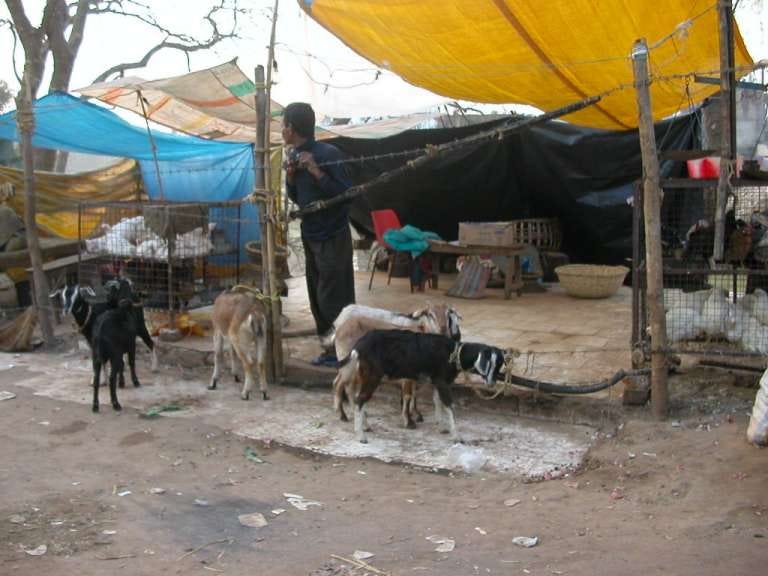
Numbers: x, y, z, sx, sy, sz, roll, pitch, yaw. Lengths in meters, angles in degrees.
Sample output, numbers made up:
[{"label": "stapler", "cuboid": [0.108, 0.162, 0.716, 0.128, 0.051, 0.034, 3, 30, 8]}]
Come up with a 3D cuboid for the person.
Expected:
[{"label": "person", "cuboid": [-0.627, -0.634, 8.128, 1.012, 2.455, 0.780, 0, 1, -34]}]

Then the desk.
[{"label": "desk", "cuboid": [1.476, -0.399, 11.704, 1.659, 1.040, 0.904, 4, 4, 34]}]

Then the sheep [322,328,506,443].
[{"label": "sheep", "cuboid": [0.348, 0.866, 6.938, 1.490, 1.019, 0.490, -1, 4, 4]}]

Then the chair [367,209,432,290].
[{"label": "chair", "cuboid": [-0.005, -0.685, 13.338, 0.837, 1.303, 0.732, 2, 4, 30]}]

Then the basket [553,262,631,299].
[{"label": "basket", "cuboid": [3.071, -0.143, 11.373, 0.960, 0.573, 0.796, 1, 3, 26]}]

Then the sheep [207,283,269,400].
[{"label": "sheep", "cuboid": [-1.571, 0.588, 8.232, 0.631, 1.120, 1.104, -2, 3, -13]}]

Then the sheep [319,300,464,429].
[{"label": "sheep", "cuboid": [0.108, 0.678, 7.374, 0.509, 1.173, 1.754, -3, 5, -43]}]

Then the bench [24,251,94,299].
[{"label": "bench", "cuboid": [-5.075, -0.311, 11.946, 0.894, 0.526, 1.192, 2, 15, 18]}]
